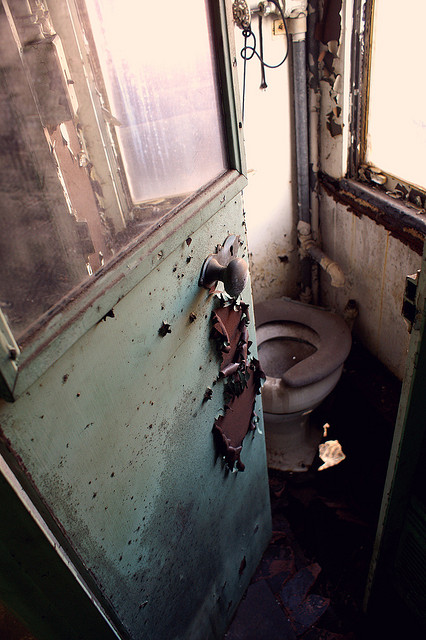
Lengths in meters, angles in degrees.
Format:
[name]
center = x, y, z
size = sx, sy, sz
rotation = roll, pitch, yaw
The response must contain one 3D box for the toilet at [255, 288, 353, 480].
[toilet]
center = 0.336, 0.324, 1.864
size = 0.396, 0.458, 0.475
rotation = 16, 30, 38
